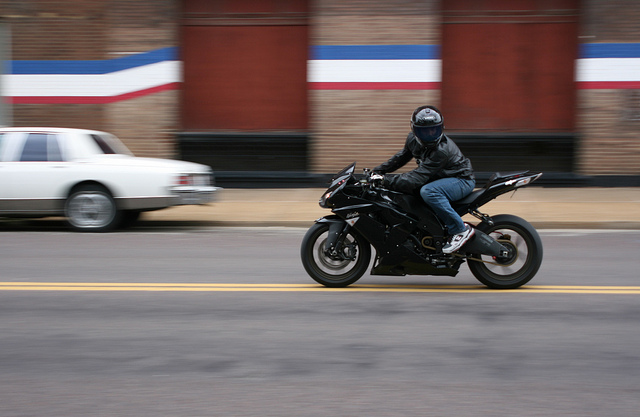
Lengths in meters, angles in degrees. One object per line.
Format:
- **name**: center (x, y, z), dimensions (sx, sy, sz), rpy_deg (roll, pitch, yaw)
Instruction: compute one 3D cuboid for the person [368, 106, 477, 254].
- **person**: center (1.472, -0.392, 10.982), dimensions (1.579, 1.957, 1.032), rpy_deg (9, 25, 28)
